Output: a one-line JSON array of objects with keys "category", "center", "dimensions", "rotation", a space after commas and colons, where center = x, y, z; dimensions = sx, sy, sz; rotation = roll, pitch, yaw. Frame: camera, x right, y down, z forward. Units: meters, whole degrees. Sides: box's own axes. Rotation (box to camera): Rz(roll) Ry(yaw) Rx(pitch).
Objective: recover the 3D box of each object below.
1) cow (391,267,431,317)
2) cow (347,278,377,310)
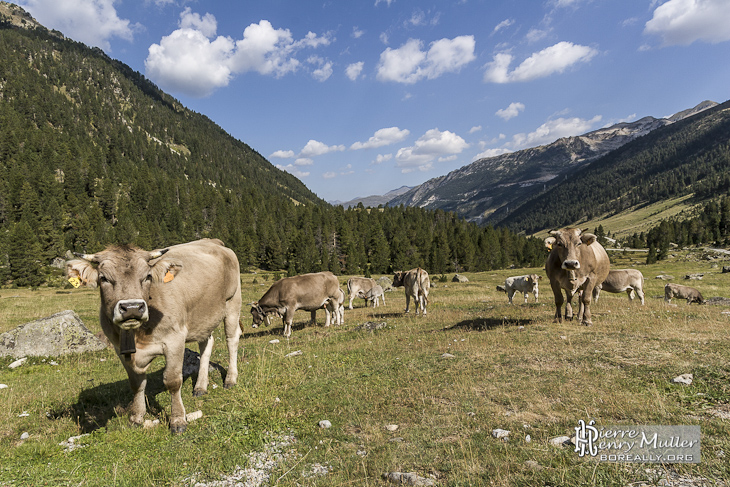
[{"category": "cow", "center": [3.716, 3.696, 39.347], "dimensions": [1.652, 3.556, 6.263], "rotation": [-5, -2, -9]}, {"category": "cow", "center": [-0.432, 4.683, 47.606], "dimensions": [3.113, 2.727, 1.823], "rotation": [0, -5, -28]}]
